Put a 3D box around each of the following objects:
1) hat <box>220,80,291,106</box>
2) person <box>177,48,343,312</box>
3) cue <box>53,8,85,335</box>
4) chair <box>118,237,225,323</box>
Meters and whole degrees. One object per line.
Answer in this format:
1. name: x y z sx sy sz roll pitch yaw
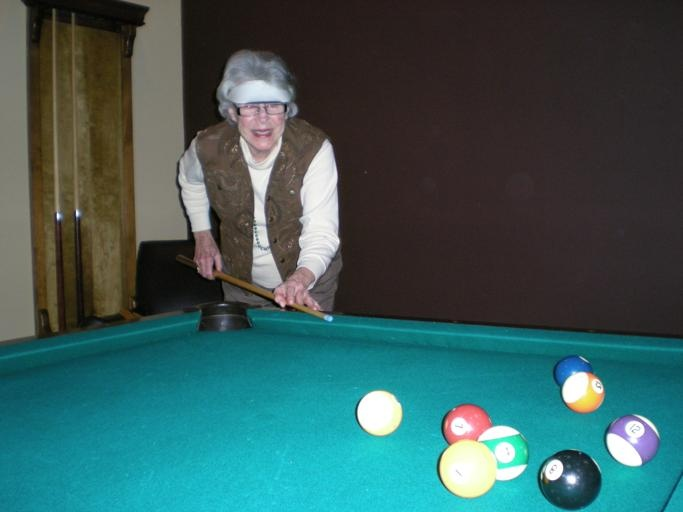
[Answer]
1. hat: -0.366 -0.705 2.563 0.274 0.070 0.101 3 -40 -3
2. person: -0.407 -0.233 2.909 0.725 0.668 1.382 2 -75 -9
3. cue: -1.829 -0.659 3.973 0.144 0.063 2.162 0 -78 -34
4. chair: -0.960 0.147 3.593 0.477 0.512 0.678 -2 -88 -33
